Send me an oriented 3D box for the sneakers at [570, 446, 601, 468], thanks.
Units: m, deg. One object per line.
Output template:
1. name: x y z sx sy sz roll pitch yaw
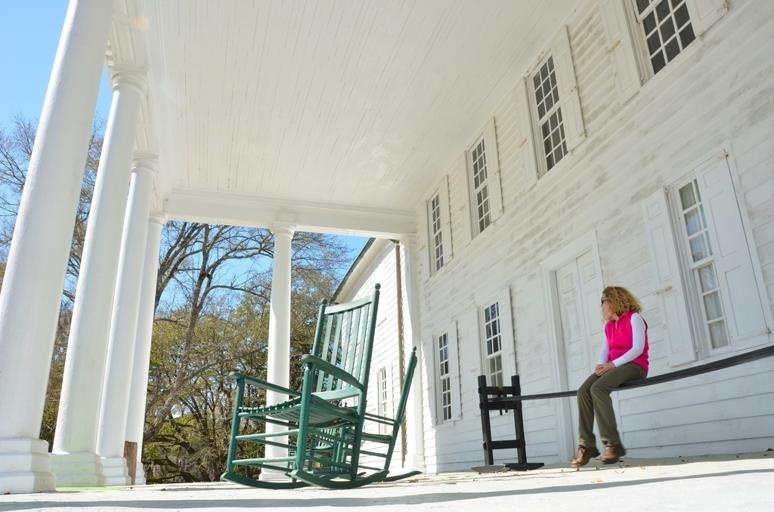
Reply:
1. sneakers: 1.918 1.942 4.760 0.256 0.191 0.245 12 -26 -33

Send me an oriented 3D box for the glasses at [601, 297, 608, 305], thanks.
1. glasses: 2.259 0.457 5.066 0.061 0.054 0.052 -1 -16 27

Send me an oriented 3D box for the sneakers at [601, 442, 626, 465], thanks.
1. sneakers: 2.119 1.844 4.577 0.353 0.181 0.121 10 -26 -43

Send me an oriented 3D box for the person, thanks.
1. person: 2.168 1.123 4.802 0.838 1.717 0.414 -12 -23 25

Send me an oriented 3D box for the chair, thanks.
1. chair: -0.681 1.040 3.932 1.174 1.479 0.917 6 -16 -22
